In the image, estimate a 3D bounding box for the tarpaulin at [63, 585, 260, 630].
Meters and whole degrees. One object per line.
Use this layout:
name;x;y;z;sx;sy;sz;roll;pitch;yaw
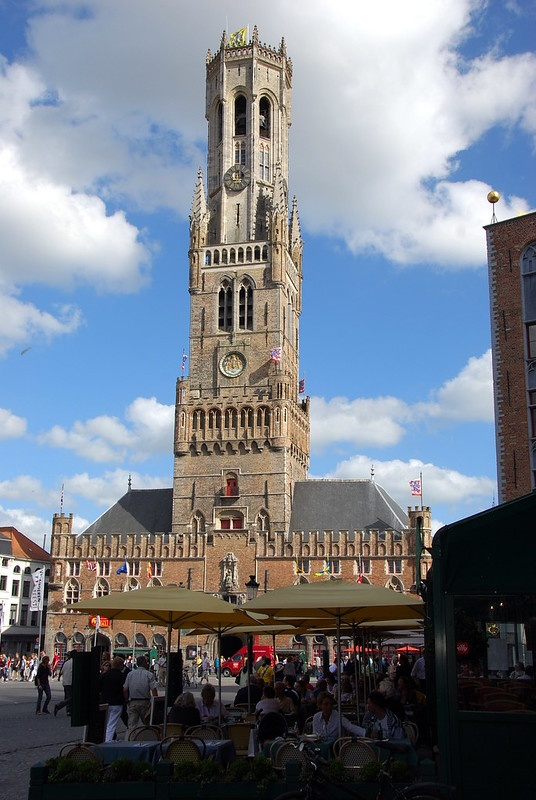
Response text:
tarpaulin;-1.487;3.360;13.756;2.273;0.628;4.285;-2;-16;4

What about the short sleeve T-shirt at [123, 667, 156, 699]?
short sleeve T-shirt;-2.233;4.855;14.633;0.527;0.544;0.486;-2;-16;3

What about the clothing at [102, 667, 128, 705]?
clothing;-2.628;4.872;14.510;0.383;0.603;0.394;2;-16;-10
